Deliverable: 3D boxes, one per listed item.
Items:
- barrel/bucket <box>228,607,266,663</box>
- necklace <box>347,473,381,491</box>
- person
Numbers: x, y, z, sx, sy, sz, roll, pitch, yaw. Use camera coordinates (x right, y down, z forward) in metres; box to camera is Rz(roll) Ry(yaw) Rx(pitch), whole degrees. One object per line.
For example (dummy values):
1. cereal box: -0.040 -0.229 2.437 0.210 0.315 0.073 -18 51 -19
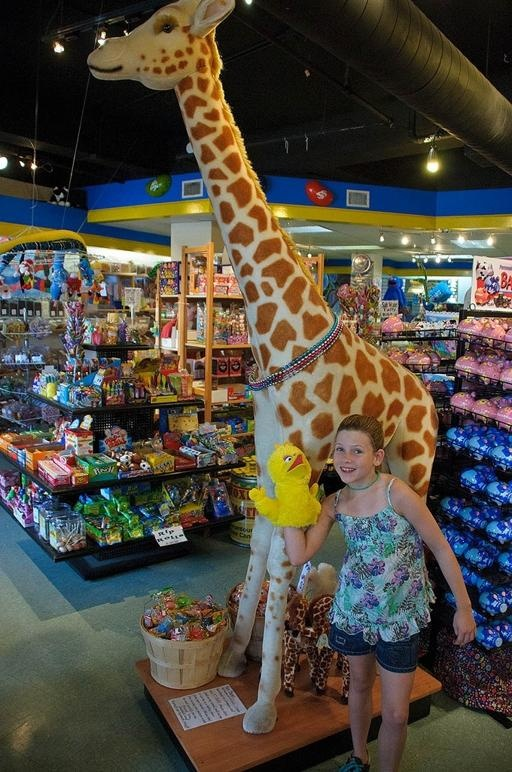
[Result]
1. barrel/bucket: 0.009 1.156 2.428 0.228 0.168 0.198 3 -2 -23
2. necklace: 0.305 0.272 1.468 0.096 0.071 0.078 1 5 12
3. person: 0.369 0.693 1.540 0.515 1.224 0.294 1 5 23
